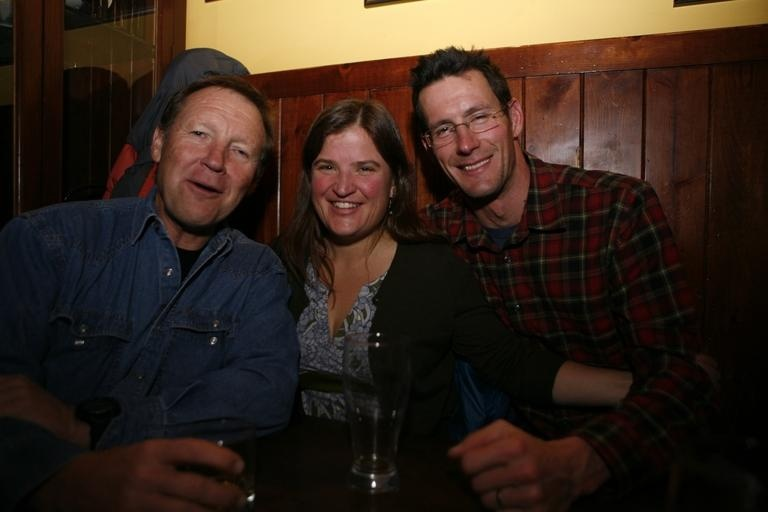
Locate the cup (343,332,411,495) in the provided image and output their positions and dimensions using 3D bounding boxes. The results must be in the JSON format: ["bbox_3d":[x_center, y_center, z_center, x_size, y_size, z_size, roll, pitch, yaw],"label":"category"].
[{"bbox_3d":[-0.026,0.476,1.888,0.202,0.439,0.159,0,12,0],"label":"cup"}]

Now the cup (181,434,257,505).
[{"bbox_3d":[-0.496,0.644,1.859,0.212,0.159,0.194,0,13,0],"label":"cup"}]
